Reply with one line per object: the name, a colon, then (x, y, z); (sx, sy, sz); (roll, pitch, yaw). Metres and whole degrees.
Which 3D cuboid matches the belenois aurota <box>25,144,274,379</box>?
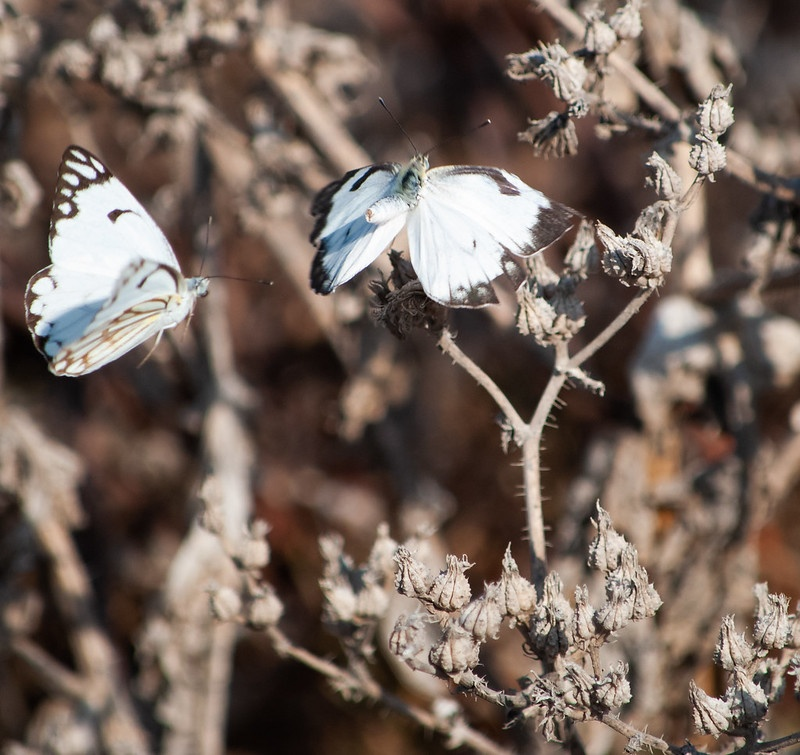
belenois aurota: (-0.413, -0.146, 2.973); (0.306, 0.266, 0.354); (-10, 14, -12)
